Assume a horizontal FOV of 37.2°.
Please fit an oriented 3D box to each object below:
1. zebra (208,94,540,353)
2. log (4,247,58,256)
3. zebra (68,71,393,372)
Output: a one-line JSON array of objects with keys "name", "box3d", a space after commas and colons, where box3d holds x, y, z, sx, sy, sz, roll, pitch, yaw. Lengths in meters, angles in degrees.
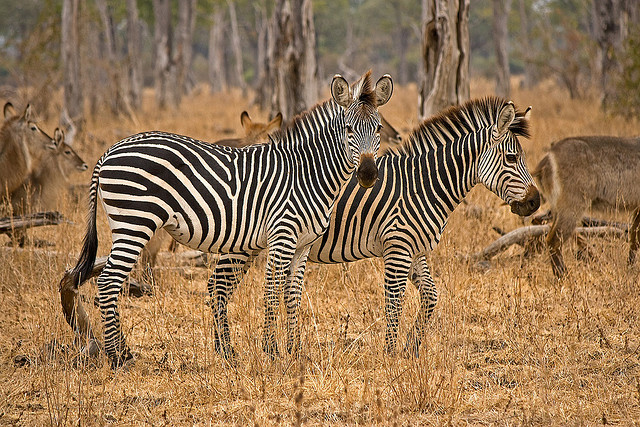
[{"name": "zebra", "box3d": [0.731, 0.267, 13.991, 4.711, 3.986, 1.392, 0, -4, 5]}, {"name": "log", "box3d": [-4.525, 0.598, 14.990, 0.825, 0.162, 0.554, -5, -4, 44]}, {"name": "zebra", "box3d": [-1.038, 0.142, 13.475, 4.265, 4.227, 1.749, 0, 1, -1]}]
